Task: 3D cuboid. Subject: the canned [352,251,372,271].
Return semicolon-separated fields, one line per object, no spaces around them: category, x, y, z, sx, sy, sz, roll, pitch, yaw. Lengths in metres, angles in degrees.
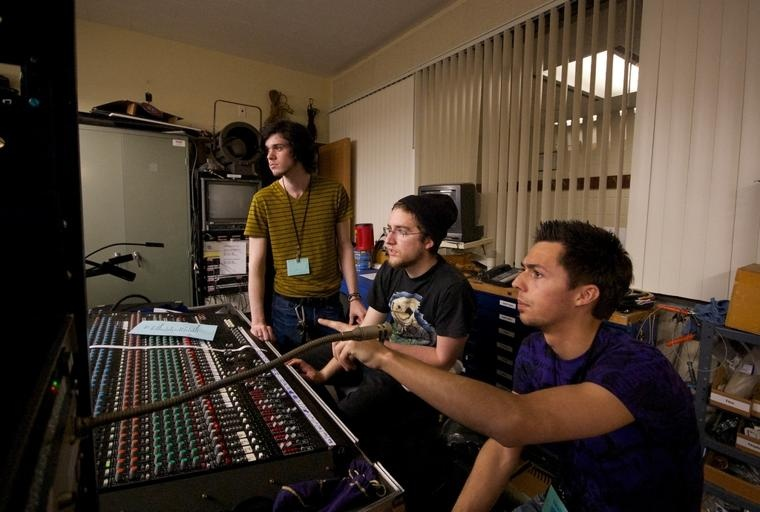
canned;-0.170;0.046;4.827;0.183;0.189;0.133;0;0;-1

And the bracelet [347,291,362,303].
bracelet;-0.160;0.244;2.970;0.059;0.039;0.069;-9;9;5

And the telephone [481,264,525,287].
telephone;0.857;0.133;3.586;0.170;0.053;0.195;6;26;44

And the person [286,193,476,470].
person;-0.025;0.349;3.379;1.198;2.138;0.896;4;-4;-19

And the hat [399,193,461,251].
hat;0.255;-0.213;2.650;0.249;0.324;0.243;-18;0;5
